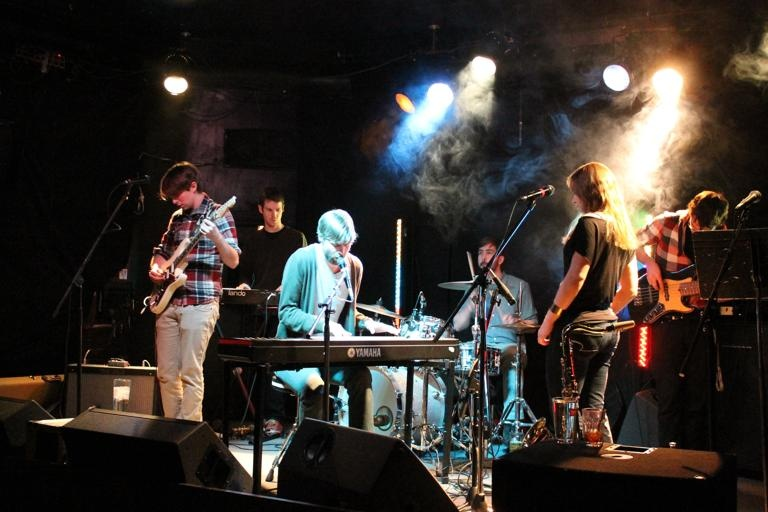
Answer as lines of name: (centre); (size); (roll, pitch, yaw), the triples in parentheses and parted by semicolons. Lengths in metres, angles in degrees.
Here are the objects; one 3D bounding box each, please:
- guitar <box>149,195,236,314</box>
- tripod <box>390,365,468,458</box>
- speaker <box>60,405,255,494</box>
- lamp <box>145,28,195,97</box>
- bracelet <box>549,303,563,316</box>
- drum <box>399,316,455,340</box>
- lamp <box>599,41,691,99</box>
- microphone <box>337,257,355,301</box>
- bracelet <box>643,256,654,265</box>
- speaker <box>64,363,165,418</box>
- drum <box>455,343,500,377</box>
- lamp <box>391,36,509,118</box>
guitar: (-1.868, -0.002, 6.716); (0.777, 1.156, 0.323); (2, -9, 17)
tripod: (0.356, 1.620, 7.304); (0.890, 0.930, 0.884); (-1, -6, 16)
speaker: (-1.630, 1.379, 5.003); (1.202, 0.494, 0.499); (2, -9, 12)
lamp: (-2.472, -2.436, 8.667); (0.322, 0.776, 0.319); (9, -20, -22)
bracelet: (1.405, 0.440, 5.784); (0.089, 0.067, 0.091); (12, -4, 23)
drum: (0.357, 0.712, 7.010); (0.266, 0.145, 0.342); (12, -7, 24)
lamp: (2.772, -1.957, 7.542); (0.814, 0.364, 0.338); (12, -29, 9)
microphone: (-0.297, 0.181, 6.016); (0.112, 0.120, 0.401); (-9, 36, -2)
bracelet: (2.532, 0.048, 6.764); (0.076, 0.056, 0.075); (4, -7, -27)
speaker: (-2.556, 1.289, 6.719); (0.567, 0.517, 0.203); (-1, -12, 3)
drum: (0.944, 1.053, 7.167); (0.466, 0.286, 0.369); (-6, -24, 16)
lamp: (0.782, -2.003, 8.292); (1.868, 0.468, 0.506); (-29, 12, -6)
